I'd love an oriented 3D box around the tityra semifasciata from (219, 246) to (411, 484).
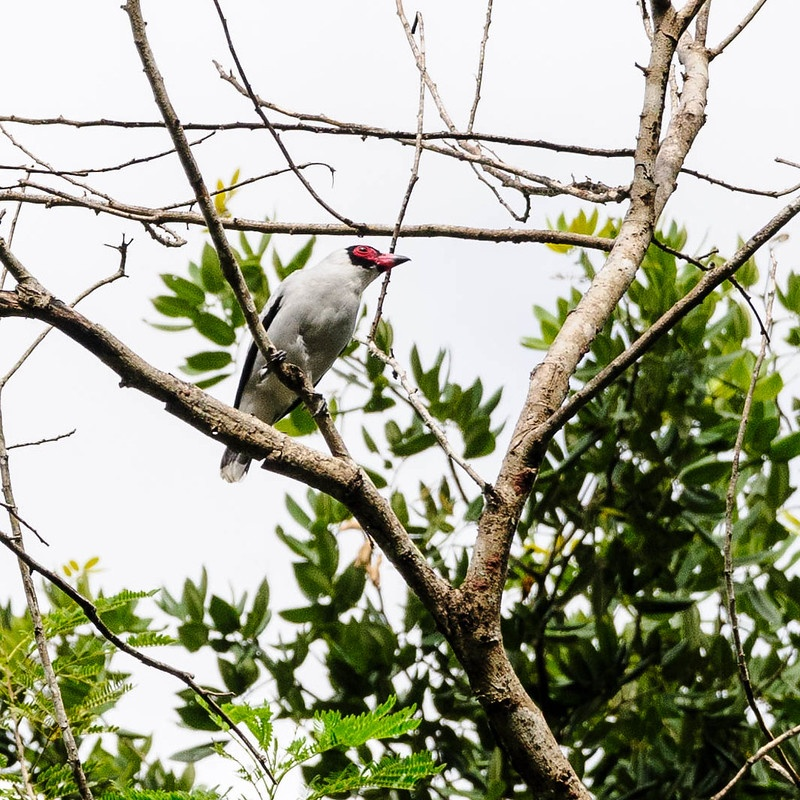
[{"bbox_3d":[-0.316,-0.145,4.994,0.291,0.504,0.939,27,-64,-24],"label":"tityra semifasciata"}]
